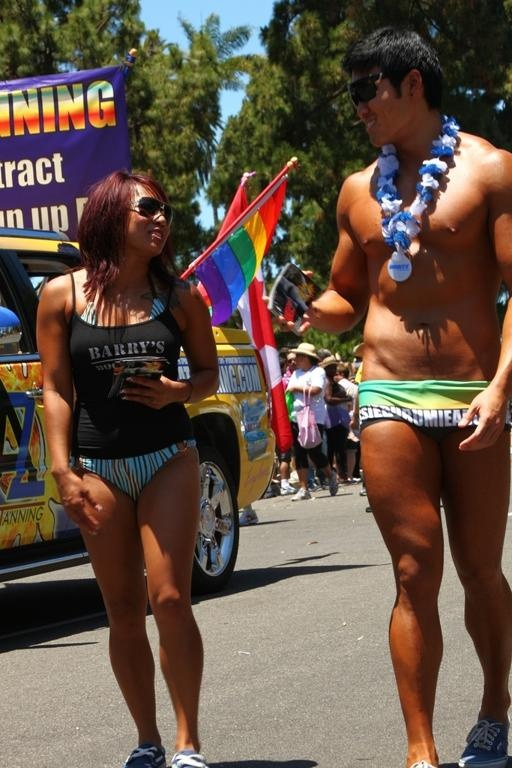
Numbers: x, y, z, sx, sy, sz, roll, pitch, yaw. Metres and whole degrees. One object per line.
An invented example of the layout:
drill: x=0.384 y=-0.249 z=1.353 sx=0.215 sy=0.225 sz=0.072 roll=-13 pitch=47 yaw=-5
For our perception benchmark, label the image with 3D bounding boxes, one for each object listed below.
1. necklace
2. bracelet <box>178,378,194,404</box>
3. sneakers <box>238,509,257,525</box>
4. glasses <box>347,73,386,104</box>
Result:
necklace: x=0.398 y=-0.473 z=1.806 sx=0.218 sy=0.481 sz=0.102 roll=-2 pitch=-29 yaw=22
bracelet: x=-0.191 y=0.017 z=1.947 sx=0.019 sy=0.055 sz=0.051 roll=-1 pitch=-4 yaw=17
sneakers: x=-0.192 y=1.770 z=9.309 sx=0.365 sy=0.236 sz=0.175 roll=3 pitch=-7 yaw=-17
glasses: x=0.291 y=-0.781 z=1.856 sx=0.079 sy=0.029 sz=0.072 roll=-17 pitch=0 yaw=-26
